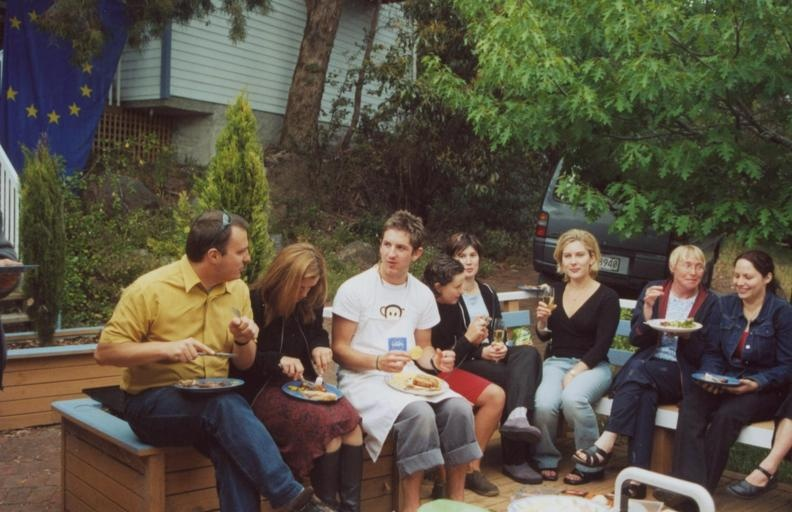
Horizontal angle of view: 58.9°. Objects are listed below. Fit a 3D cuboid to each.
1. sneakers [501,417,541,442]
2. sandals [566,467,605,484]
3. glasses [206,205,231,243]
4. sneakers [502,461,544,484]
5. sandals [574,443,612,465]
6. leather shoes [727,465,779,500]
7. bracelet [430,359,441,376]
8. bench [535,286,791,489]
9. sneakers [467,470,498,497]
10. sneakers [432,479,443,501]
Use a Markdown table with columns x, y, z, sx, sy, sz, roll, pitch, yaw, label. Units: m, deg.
| x | y | z | sx | sy | sz | roll | pitch | yaw | label |
| --- | --- | --- | --- | --- | --- | --- | --- | --- | --- |
| 1.215 | 1.696 | 6.814 | 0.364 | 0.197 | 0.183 | 10 | 41 | 23 | sneakers |
| 1.893 | 2.208 | 7.085 | 0.422 | 0.150 | 0.156 | 2 | -4 | -15 | sandals |
| -1.510 | -0.275 | 5.992 | 0.060 | 0.213 | 0.197 | 12 | 38 | -18 | glasses |
| 1.288 | 2.186 | 7.077 | 0.318 | 0.122 | 0.172 | 6 | 11 | 34 | sneakers |
| 1.938 | 1.959 | 6.891 | 0.345 | 0.145 | 0.160 | 11 | 9 | -23 | sandals |
| 3.423 | 2.114 | 6.634 | 0.529 | 0.237 | 0.230 | -2 | -4 | -30 | leather shoes |
| 0.406 | 1.095 | 6.934 | 0.055 | 0.149 | 0.124 | -29 | -5 | 5 | bracelet |
| 2.676 | 1.296 | 6.964 | 1.938 | 1.419 | 0.836 | 1 | 0 | 39 | bench |
| 0.847 | 2.223 | 6.850 | 0.149 | 0.150 | 0.358 | -4 | 6 | -43 | sneakers |
| 0.415 | 2.292 | 6.909 | 0.113 | 0.206 | 0.210 | 8 | -15 | -25 | sneakers |
